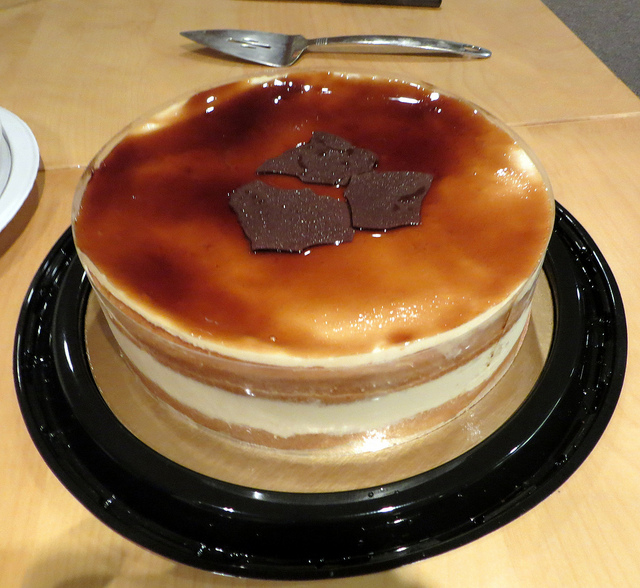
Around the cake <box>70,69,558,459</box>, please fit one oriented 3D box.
[{"bbox_3d":[-0.001,-0.102,1.172,0.734,0.207,0.735,-23,47,-23],"label":"cake"}]
